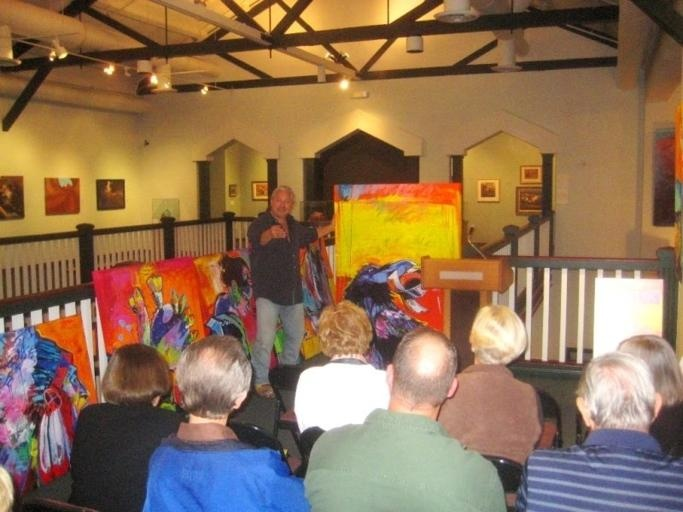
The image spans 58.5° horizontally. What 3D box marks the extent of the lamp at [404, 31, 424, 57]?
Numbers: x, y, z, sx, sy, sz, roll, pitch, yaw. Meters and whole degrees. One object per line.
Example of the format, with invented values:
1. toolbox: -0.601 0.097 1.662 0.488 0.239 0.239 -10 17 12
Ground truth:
1. lamp: 1.133 -3.313 9.445 0.233 0.310 0.551 1 1 3

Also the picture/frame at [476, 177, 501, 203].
1. picture/frame: 3.866 -1.741 15.998 0.625 0.659 0.043 3 4 21

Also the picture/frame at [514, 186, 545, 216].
1. picture/frame: 4.653 -1.393 15.078 0.873 0.917 0.087 2 5 24

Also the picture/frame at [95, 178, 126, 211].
1. picture/frame: -5.543 -1.481 14.729 0.206 0.784 0.938 1 1 17

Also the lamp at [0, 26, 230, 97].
1. lamp: -3.911 -3.626 11.408 4.401 0.718 2.705 1 2 11
